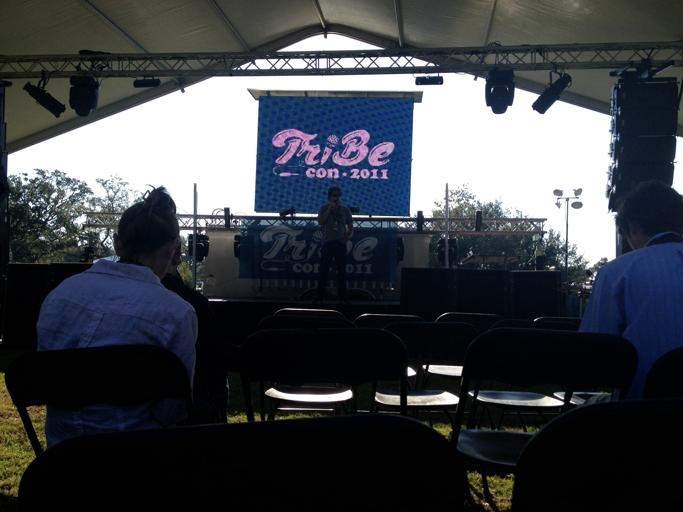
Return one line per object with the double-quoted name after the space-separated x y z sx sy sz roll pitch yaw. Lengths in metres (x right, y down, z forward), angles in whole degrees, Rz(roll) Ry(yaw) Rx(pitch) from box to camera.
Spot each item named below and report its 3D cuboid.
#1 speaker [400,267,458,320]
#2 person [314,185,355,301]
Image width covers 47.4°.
1.202 0.509 10.917 0.678 0.676 0.234 1 0 1 "speaker"
-0.160 -0.227 13.029 0.565 1.882 0.344 3 3 -4 "person"
